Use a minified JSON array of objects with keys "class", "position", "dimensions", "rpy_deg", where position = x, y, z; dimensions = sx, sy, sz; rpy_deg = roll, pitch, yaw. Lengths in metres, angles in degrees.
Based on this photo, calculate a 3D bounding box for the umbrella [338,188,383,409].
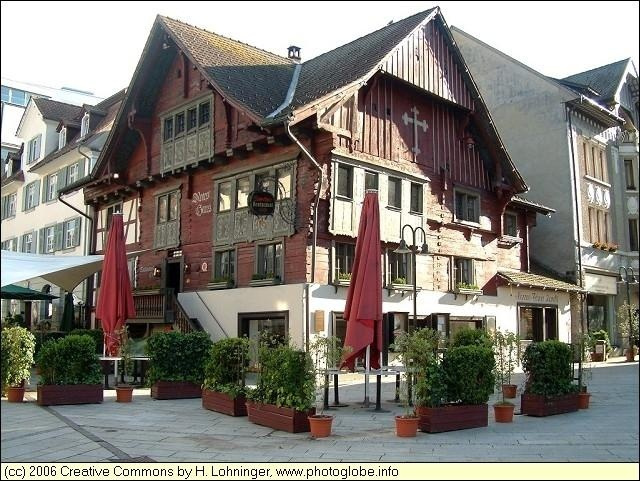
[{"class":"umbrella","position":[1.098,0.978,17.449],"dimensions":[0.991,4.703,0.886],"rpy_deg":[-2,-13,1]}]
